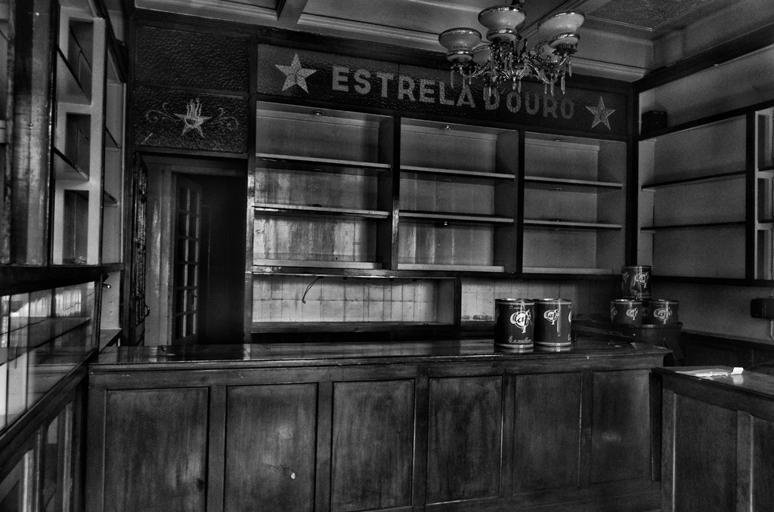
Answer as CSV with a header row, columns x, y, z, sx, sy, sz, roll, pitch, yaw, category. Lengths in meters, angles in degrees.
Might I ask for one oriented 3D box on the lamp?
x,y,z,sx,sy,sz,roll,pitch,yaw,category
0.950,-1.533,5.113,1.173,1.072,0.715,0,-92,-3,lamp
